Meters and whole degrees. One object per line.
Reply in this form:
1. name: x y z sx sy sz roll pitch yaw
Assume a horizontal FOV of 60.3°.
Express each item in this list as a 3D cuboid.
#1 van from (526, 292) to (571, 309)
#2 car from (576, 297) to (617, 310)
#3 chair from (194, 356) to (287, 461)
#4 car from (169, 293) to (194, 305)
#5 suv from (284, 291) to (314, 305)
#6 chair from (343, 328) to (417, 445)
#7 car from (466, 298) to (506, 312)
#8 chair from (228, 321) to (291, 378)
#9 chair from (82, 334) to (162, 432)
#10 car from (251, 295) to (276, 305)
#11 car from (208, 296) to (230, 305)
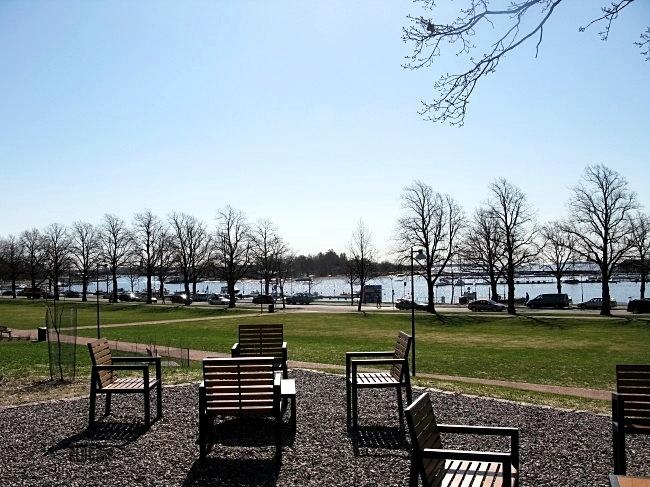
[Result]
1. van: 24.123 6.359 60.385 3.756 1.594 1.909 1 -1 16
2. car: 28.403 6.465 58.225 3.551 1.292 1.683 0 -6 19
3. chair: -1.312 2.550 8.876 1.248 1.433 1.697 -1 -7 -3
4. car: -19.021 7.751 74.735 3.777 1.339 1.806 -1 -2 25
5. suv: -3.476 7.683 75.912 2.667 1.287 1.669 2 -5 7
6. chair: 0.950 2.712 10.662 1.482 2.191 1.663 0 -6 -3
7. car: 16.149 6.298 55.689 2.891 1.055 1.514 -3 -1 10
8. chair: -1.252 2.193 11.054 1.077 1.328 1.006 -2 -17 -2
9. chair: -3.571 2.528 10.083 1.144 1.444 1.390 2 -5 -17
10. car: -7.476 7.200 68.600 2.947 1.076 1.371 4 -2 17
11. car: -13.345 7.299 70.245 2.920 1.026 1.547 -3 -4 24
